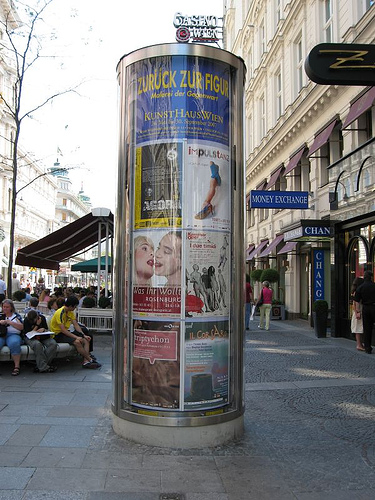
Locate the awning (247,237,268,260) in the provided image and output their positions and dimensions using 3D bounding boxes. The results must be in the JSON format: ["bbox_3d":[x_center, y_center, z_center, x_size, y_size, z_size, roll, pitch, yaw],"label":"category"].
[{"bbox_3d":[4.326,-0.102,31.316,0.648,0.983,2.432,20,-28,-16],"label":"awning"}]

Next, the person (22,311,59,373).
[{"bbox_3d":[-2.512,1.554,8.678,0.616,1.044,0.467,1,-5,-33],"label":"person"}]

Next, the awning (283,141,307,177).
[{"bbox_3d":[4.814,-4.030,22.548,0.174,1.722,1.712,32,-31,-6],"label":"awning"}]

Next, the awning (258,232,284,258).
[{"bbox_3d":[4.337,-0.316,25.922,0.814,1.155,2.692,-1,-4,-3],"label":"awning"}]

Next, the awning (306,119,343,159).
[{"bbox_3d":[4.944,-3.817,18.107,1.057,1.323,1.875,9,-4,-6],"label":"awning"}]

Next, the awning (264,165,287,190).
[{"bbox_3d":[4.377,-3.609,25.673,0.821,1.005,1.916,-1,-4,-4],"label":"awning"}]

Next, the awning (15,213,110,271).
[{"bbox_3d":[-4.529,-0.375,18.745,3.060,1.560,6.791,-7,7,-13],"label":"awning"}]

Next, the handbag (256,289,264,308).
[{"bbox_3d":[2.527,1.679,17.765,0.262,0.617,0.312,-2,-4,5],"label":"handbag"}]
